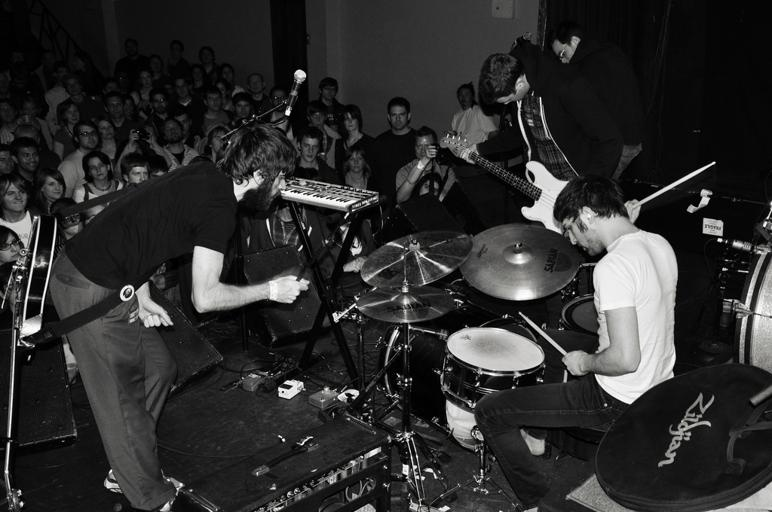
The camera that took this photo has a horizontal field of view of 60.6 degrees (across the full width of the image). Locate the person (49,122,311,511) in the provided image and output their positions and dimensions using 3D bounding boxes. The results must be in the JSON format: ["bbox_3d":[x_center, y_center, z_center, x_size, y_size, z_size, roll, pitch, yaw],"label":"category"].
[{"bbox_3d":[-1.190,0.382,3.852,1.276,2.147,0.761,-18,28,-28],"label":"person"}]

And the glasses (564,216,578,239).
[{"bbox_3d":[1.073,-0.171,3.786,0.071,0.112,0.077,-22,18,1],"label":"glasses"}]

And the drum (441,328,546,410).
[{"bbox_3d":[0.672,0.624,4.053,0.490,0.291,0.476,11,24,-5],"label":"drum"}]

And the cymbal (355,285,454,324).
[{"bbox_3d":[0.138,0.256,4.304,0.710,0.170,0.725,0,9,23],"label":"cymbal"}]

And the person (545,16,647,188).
[{"bbox_3d":[1.669,-1.222,5.211,0.372,1.142,0.801,-23,31,-36],"label":"person"}]

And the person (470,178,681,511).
[{"bbox_3d":[1.140,0.537,3.781,0.777,1.824,1.017,18,32,40],"label":"person"}]
